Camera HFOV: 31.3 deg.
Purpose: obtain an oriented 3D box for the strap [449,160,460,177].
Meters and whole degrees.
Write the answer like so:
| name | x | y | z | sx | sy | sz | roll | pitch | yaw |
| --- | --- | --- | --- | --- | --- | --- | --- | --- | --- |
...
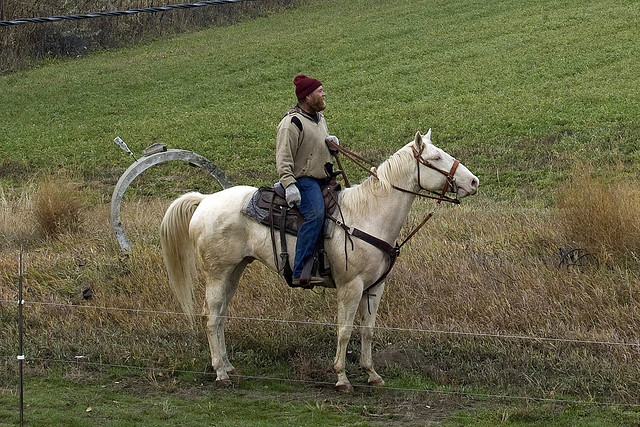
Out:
| name | x | y | z | sx | sy | sz | roll | pitch | yaw |
| --- | --- | --- | --- | --- | --- | --- | --- | --- | --- |
| strap | 3.811 | -1.294 | 32.314 | 0.085 | 0.372 | 0.364 | 18 | -20 | -9 |

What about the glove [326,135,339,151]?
| name | x | y | z | sx | sy | sz | roll | pitch | yaw |
| --- | --- | --- | --- | --- | --- | --- | --- | --- | --- |
| glove | 0.328 | -2.054 | 32.842 | 0.259 | 0.389 | 0.154 | -6 | 10 | -5 |
